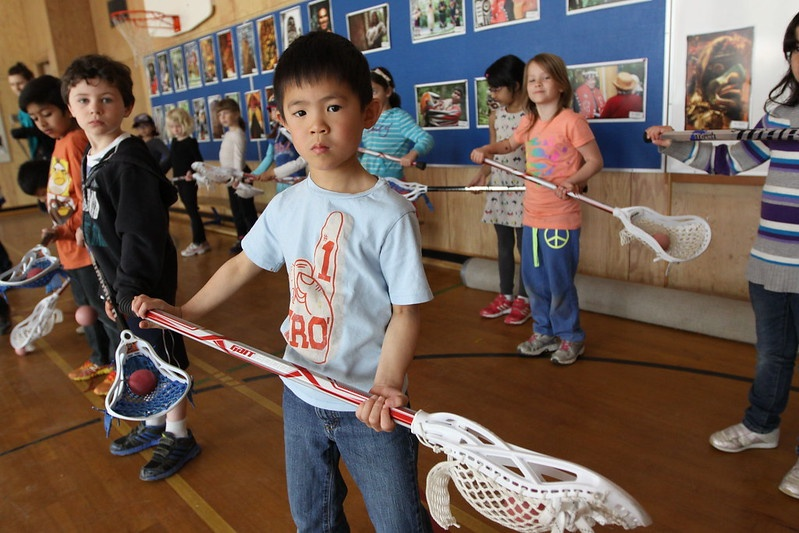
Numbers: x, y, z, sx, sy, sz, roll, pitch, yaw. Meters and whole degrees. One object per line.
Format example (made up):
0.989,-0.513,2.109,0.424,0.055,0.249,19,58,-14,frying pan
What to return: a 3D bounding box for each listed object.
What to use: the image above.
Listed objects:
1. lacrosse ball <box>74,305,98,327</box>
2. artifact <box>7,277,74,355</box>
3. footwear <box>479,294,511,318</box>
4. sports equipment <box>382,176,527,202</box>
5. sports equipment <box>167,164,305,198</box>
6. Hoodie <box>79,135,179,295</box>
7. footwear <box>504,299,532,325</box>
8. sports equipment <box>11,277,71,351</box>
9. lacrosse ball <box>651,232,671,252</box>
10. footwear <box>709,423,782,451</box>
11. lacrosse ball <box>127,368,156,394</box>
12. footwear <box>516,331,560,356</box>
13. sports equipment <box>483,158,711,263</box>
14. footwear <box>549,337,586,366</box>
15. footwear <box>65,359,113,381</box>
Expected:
-2.111,0.341,3.901,0.142,0.146,0.171,1,16,-13,lacrosse ball
-2.884,0.413,4.599,0.636,0.219,0.179,-51,4,-28,artifact
0.716,0.303,4.540,0.314,0.147,0.121,-10,13,-24,footwear
0.372,-0.602,4.441,1.191,0.140,0.424,-2,16,10,sports equipment
-1.493,-0.842,5.442,0.708,0.233,0.520,2,14,-14,sports equipment
-1.433,-0.248,2.968,0.387,0.708,0.903,-15,32,-32,Hoodie
0.906,0.332,4.415,0.112,0.135,0.287,6,18,35,footwear
-2.879,0.395,4.591,0.204,0.119,0.590,24,64,23,sports equipment
1.648,-0.170,3.592,0.089,0.039,0.127,-8,56,-5,lacrosse ball
1.775,0.875,3.041,0.386,0.157,0.139,-1,20,7,footwear
-1.107,0.493,2.454,0.098,0.100,0.054,17,-17,-8,lacrosse ball
0.953,0.531,3.986,0.305,0.162,0.129,-3,7,-8,footwear
1.223,-0.354,3.789,1.514,0.262,0.520,32,58,14,sports equipment
1.125,0.559,3.837,0.103,0.133,0.282,6,11,42,footwear
-2.213,0.738,4.100,0.297,0.139,0.136,-2,13,-21,footwear
